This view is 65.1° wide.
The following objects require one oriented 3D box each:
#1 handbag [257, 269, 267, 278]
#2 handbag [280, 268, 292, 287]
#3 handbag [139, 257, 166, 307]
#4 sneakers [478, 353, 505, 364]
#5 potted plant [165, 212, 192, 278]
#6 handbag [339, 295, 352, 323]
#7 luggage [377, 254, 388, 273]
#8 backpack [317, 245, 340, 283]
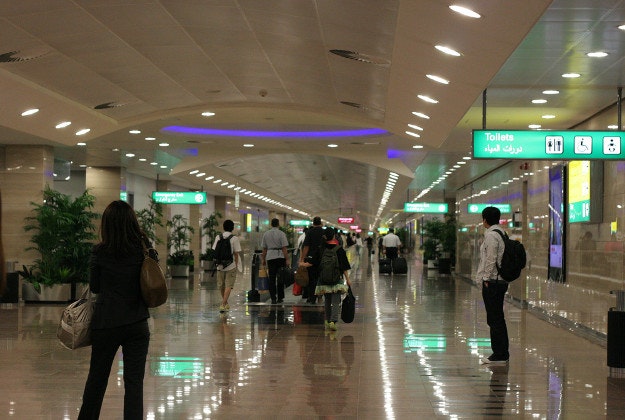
[{"bbox_3d":[-1.336,1.638,12.780,0.240,0.167,0.235,0,1,9],"label":"handbag"},{"bbox_3d":[-0.684,1.643,12.308,0.217,0.363,0.400,-3,-6,23],"label":"handbag"},{"bbox_3d":[-1.588,0.701,4.817,0.247,0.497,0.167,1,-6,-18],"label":"handbag"},{"bbox_3d":[2.838,2.337,7.734,0.436,0.166,0.154,2,-3,4],"label":"sneakers"},{"bbox_3d":[-6.461,1.611,23.544,1.161,3.084,3.548,1,-6,-15],"label":"potted plant"},{"bbox_3d":[0.662,1.998,9.937,0.259,0.541,0.209,0,-6,-2],"label":"handbag"},{"bbox_3d":[3.313,2.620,23.316,0.736,0.981,0.582,1,-15,-4],"label":"luggage"},{"bbox_3d":[0.299,1.113,9.854,0.437,0.800,0.225,0,-6,0],"label":"backpack"}]
